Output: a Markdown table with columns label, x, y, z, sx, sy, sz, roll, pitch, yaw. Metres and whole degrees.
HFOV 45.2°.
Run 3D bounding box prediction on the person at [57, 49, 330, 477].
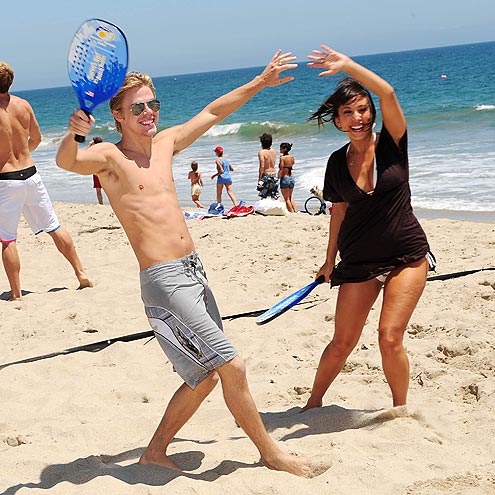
| label | x | y | z | sx | sy | sz | roll | pitch | yaw |
| --- | --- | --- | --- | --- | --- | --- | --- | --- | --- |
| person | -0.464 | 0.091 | 3.208 | 0.798 | 2.003 | 0.981 | -6 | 20 | -3 |

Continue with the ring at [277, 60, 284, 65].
| label | x | y | z | sx | sy | sz | roll | pitch | yaw |
| --- | --- | --- | --- | --- | --- | --- | --- | --- | --- |
| ring | 0.181 | -1.043 | 3.370 | 0.041 | 0.031 | 0.010 | 20 | -11 | 11 |

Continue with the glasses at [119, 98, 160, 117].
| label | x | y | z | sx | sy | sz | roll | pitch | yaw |
| --- | --- | --- | --- | --- | --- | --- | --- | --- | --- |
| glasses | -0.520 | -0.708 | 3.017 | 0.133 | 0.038 | 0.125 | -12 | 1 | -31 |
